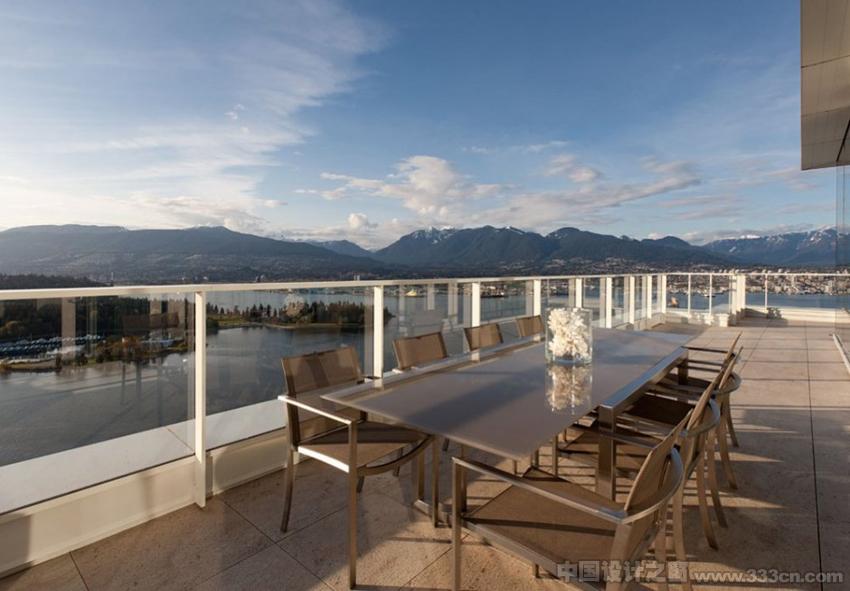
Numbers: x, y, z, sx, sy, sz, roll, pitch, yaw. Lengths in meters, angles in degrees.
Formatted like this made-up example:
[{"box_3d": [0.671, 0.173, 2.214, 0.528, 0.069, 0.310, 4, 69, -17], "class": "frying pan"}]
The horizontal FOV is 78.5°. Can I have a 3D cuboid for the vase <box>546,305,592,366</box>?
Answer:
[{"box_3d": [1.136, 0.300, 4.132, 0.425, 0.596, 0.422, 0, 2, 21], "class": "vase"}]
